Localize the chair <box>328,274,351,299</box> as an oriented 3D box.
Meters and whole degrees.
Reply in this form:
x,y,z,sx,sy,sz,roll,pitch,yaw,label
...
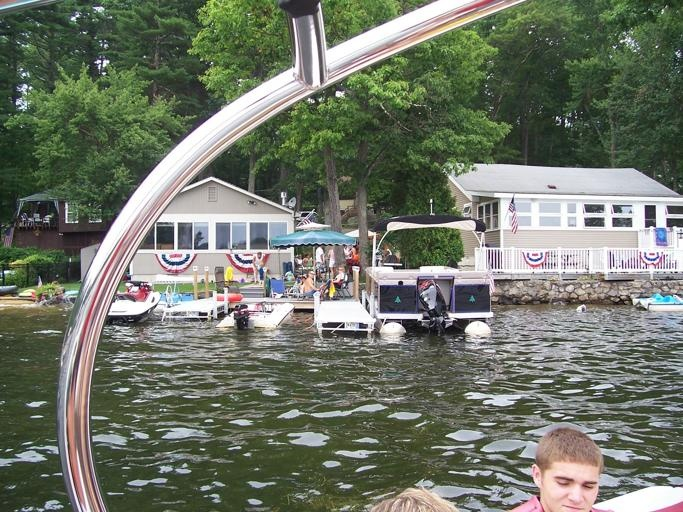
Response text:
x,y,z,sx,sy,sz,roll,pitch,yaw,label
-0.137,1.189,28.791,0.993,1.184,0.989,2,-2,2,chair
